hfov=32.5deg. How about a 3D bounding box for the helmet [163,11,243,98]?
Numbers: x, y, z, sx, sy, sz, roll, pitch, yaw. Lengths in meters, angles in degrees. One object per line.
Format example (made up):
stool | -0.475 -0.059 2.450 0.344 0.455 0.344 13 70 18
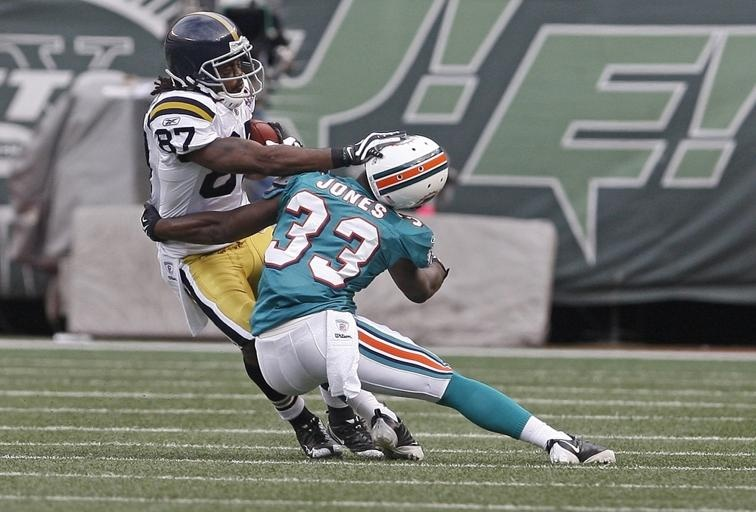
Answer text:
helmet | -1.015 -1.190 7.678 0.546 0.412 0.381 6 18 15

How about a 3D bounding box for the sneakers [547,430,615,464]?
sneakers | 1.141 1.108 7.378 0.419 0.157 0.142 0 -1 -10

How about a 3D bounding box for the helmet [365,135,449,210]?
helmet | 0.177 -0.448 7.423 0.478 0.345 0.373 -13 -16 18

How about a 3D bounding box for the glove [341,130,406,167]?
glove | -0.019 -0.591 7.372 0.310 0.096 0.189 -21 36 -9

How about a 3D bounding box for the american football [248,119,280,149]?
american football | -0.680 -0.750 7.921 0.195 0.135 0.148 25 7 -6
